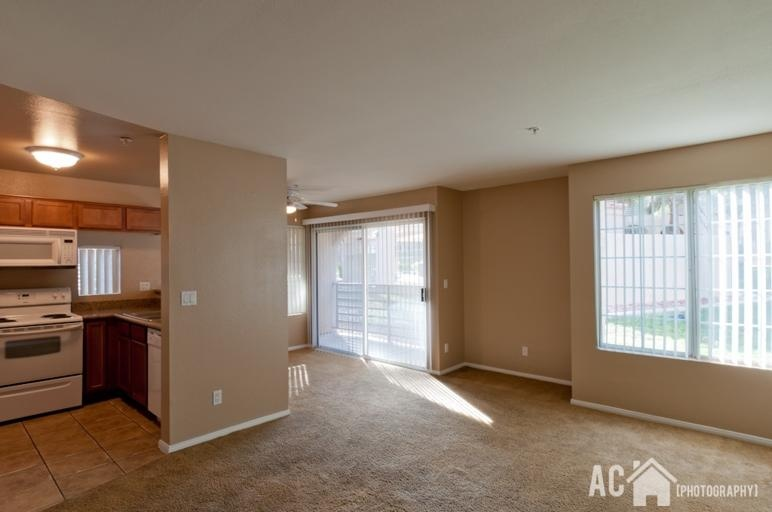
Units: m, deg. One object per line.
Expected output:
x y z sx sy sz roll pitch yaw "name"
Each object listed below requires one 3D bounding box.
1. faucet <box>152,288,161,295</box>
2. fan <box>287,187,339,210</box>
-3.438 0.543 7.329 0.163 0.094 0.163 -1 6 -23 "faucet"
-1.177 -0.925 7.789 0.613 0.329 2.031 -1 5 -5 "fan"
